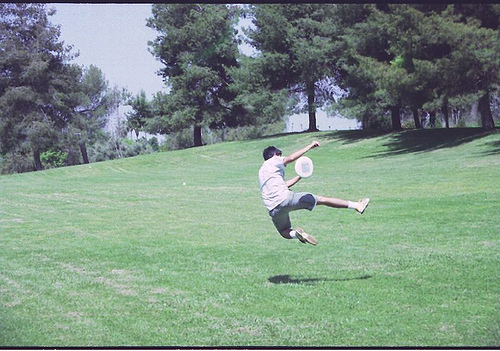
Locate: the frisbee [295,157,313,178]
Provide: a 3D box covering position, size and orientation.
[{"bbox_3d":[1.089,-0.169,9.236,0.304,0.413,0.417,-5,0,-6],"label":"frisbee"}]
